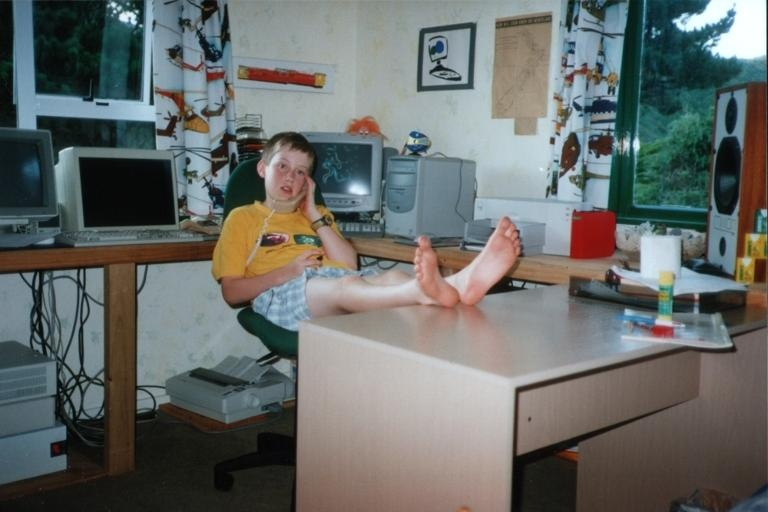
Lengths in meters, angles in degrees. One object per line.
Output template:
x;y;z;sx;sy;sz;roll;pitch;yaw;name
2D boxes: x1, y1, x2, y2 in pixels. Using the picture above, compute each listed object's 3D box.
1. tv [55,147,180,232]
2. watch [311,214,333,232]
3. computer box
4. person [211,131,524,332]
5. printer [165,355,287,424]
-1.201;-0.298;2.656;0.454;0.340;0.450;-3;7;-37;tv
-0.277;-0.141;2.626;0.088;0.054;0.087;-38;-7;-16;watch
0.258;-0.309;3.026;0.432;0.421;0.320;-3;12;-31;computer box
-0.099;-0.080;2.314;1.289;0.850;0.718;-1;4;29;person
-0.724;0.624;2.971;0.389;0.131;0.364;5;8;43;printer
